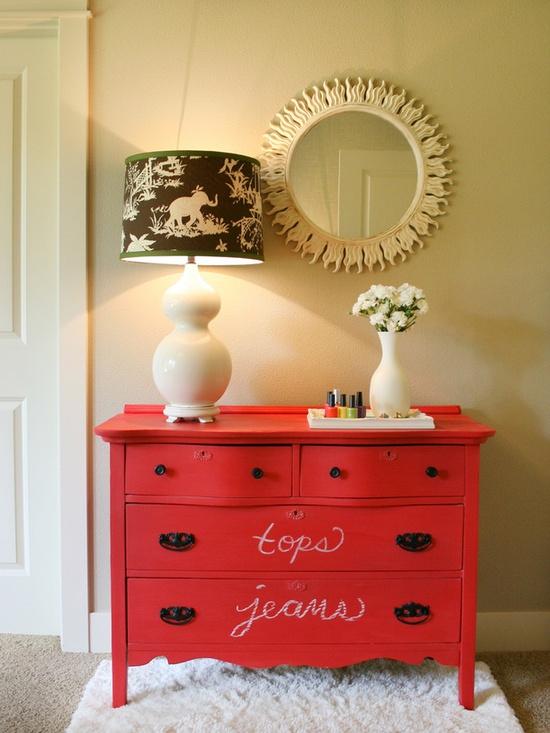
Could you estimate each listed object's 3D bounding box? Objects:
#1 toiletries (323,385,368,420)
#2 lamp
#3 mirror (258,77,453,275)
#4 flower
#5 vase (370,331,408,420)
[{"bbox_3d":[0.207,0.107,2.011,0.119,0.074,0.115,1,6,5],"label":"toiletries"},{"bbox_3d":[-0.241,-0.228,2.051,0.403,0.768,0.341,0,7,-2],"label":"lamp"},{"bbox_3d":[0.254,-0.611,2.268,0.677,0.606,0.014,11,24,29],"label":"mirror"},{"bbox_3d":[0.348,-0.163,2.051,0.187,0.109,0.174,-1,-3,2],"label":"flower"},{"bbox_3d":[0.332,0.021,2.028,0.093,0.245,0.108,-2,7,-22],"label":"vase"}]
